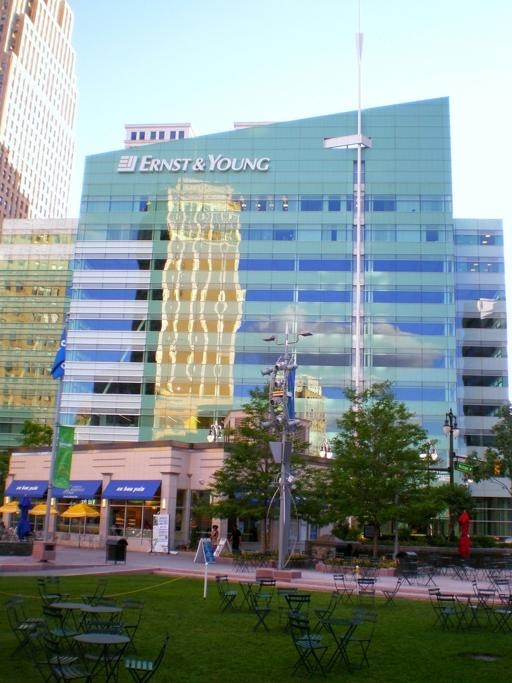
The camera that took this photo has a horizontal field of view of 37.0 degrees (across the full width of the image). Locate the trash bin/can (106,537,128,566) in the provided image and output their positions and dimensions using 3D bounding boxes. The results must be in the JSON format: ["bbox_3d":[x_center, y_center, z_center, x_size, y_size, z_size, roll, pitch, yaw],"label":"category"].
[{"bbox_3d":[-5.704,8.607,31.189,0.762,0.921,1.199,4,-14,-12],"label":"trash bin/can"}]
